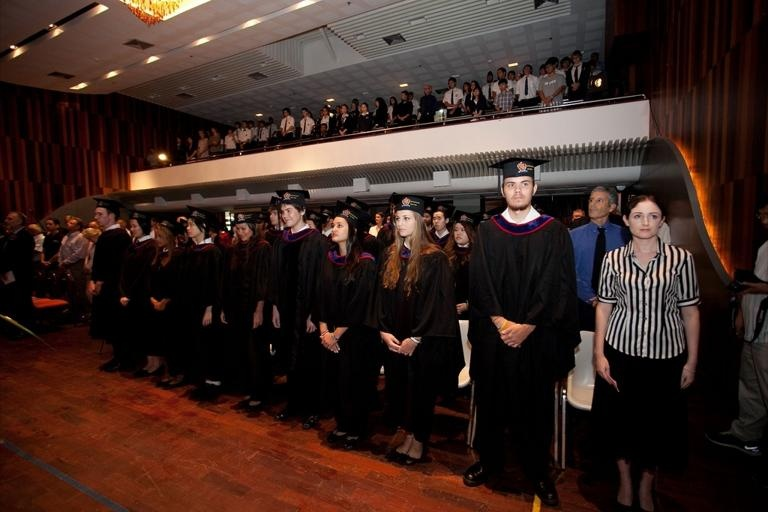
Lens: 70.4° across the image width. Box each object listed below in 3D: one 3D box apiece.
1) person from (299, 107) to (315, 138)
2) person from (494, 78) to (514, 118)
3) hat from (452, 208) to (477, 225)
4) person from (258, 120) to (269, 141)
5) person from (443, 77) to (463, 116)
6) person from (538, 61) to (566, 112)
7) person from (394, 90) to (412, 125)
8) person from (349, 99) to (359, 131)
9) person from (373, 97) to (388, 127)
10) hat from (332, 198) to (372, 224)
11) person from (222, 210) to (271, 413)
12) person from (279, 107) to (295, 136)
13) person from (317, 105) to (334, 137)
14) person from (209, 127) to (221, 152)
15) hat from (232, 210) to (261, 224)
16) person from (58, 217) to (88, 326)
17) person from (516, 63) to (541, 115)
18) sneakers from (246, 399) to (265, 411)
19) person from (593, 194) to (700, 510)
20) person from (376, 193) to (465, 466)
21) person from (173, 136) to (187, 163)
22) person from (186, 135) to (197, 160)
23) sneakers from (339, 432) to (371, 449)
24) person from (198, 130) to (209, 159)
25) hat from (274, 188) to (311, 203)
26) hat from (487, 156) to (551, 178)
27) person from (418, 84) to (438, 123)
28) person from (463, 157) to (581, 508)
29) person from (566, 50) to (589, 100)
[{"bbox_3d":[-2.106,-3.672,14.946,0.458,0.808,0.633,-7,8,-30],"label":"person"},{"bbox_3d":[2.648,-3.543,12.001,0.427,0.788,0.741,-2,7,7],"label":"person"},{"bbox_3d":[1.170,-0.547,7.715,0.168,0.281,0.270,-3,13,-42],"label":"hat"},{"bbox_3d":[-3.552,-3.672,15.975,0.330,0.659,0.937,-5,8,-11],"label":"person"},{"bbox_3d":[1.630,-3.741,12.841,0.490,0.888,0.716,-2,7,7],"label":"person"},{"bbox_3d":[3.526,-3.653,11.448,0.530,1.032,0.532,-1,7,20],"label":"person"},{"bbox_3d":[0.452,-3.594,13.270,0.422,0.802,0.630,-9,9,-41],"label":"person"},{"bbox_3d":[-0.778,-3.648,13.974,0.245,0.841,0.550,-4,7,-4],"label":"person"},{"bbox_3d":[-0.109,-3.608,13.613,0.357,0.814,0.698,-3,7,0],"label":"person"},{"bbox_3d":[-0.444,-0.607,7.020,0.379,0.139,0.375,25,4,-33],"label":"hat"},{"bbox_3d":[-1.887,0.753,7.586,0.621,2.594,0.819,-8,8,-35],"label":"person"},{"bbox_3d":[-2.727,-3.776,15.309,0.404,0.764,0.588,-7,8,-27],"label":"person"},{"bbox_3d":[-1.602,-3.636,14.569,0.396,0.903,0.979,-4,7,-7],"label":"person"},{"bbox_3d":[-5.221,-3.574,16.800,0.416,0.859,1.147,-5,8,-17],"label":"person"},{"bbox_3d":[-1.994,-0.549,7.805,0.337,0.194,0.284,0,10,-10],"label":"hat"},{"bbox_3d":[-6.120,0.249,10.803,0.476,2.063,0.790,-9,9,-39],"label":"person"},{"bbox_3d":[3.102,-3.663,11.804,0.498,0.877,0.599,-2,7,14],"label":"person"},{"bbox_3d":[-1.764,2.037,7.419,0.245,0.139,0.111,-4,7,-5],"label":"sneakers"},{"bbox_3d":[2.893,1.095,6.028,1.048,3.483,0.517,-1,7,22],"label":"person"},{"bbox_3d":[0.420,0.875,6.651,1.001,3.237,0.568,-3,7,2],"label":"person"},{"bbox_3d":[-6.447,-3.327,17.157,0.441,0.855,1.411,-6,8,-20],"label":"person"},{"bbox_3d":[-6.045,-3.360,17.008,0.322,0.697,0.825,-6,8,-18],"label":"person"},{"bbox_3d":[-0.353,2.328,6.829,0.366,0.166,0.170,-5,7,-11],"label":"sneakers"},{"bbox_3d":[-5.541,-3.421,16.592,0.376,0.854,0.707,-6,7,-18],"label":"person"},{"bbox_3d":[-1.228,-0.812,7.363,0.403,0.214,0.381,1,7,-6],"label":"hat"},{"bbox_3d":[1.554,-1.026,6.312,0.534,0.243,0.323,-2,7,7],"label":"hat"},{"bbox_3d":[1.026,-3.644,12.896,0.435,0.932,0.711,-3,7,5],"label":"person"},{"bbox_3d":[1.551,0.872,6.221,1.229,3.953,0.575,-1,7,19],"label":"person"},{"bbox_3d":[4.036,-3.773,11.373,0.449,1.008,0.575,-1,7,18],"label":"person"}]
